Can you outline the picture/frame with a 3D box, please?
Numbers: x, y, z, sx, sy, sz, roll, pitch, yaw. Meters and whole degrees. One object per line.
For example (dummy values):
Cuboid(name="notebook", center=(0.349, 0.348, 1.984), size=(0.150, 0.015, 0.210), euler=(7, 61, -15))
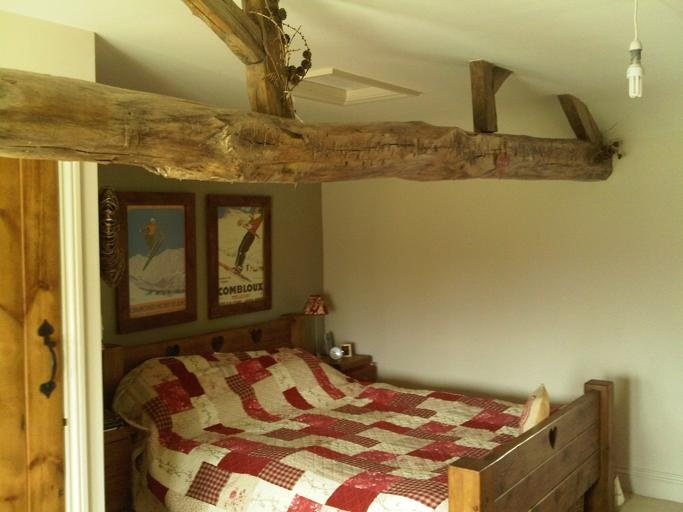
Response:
Cuboid(name="picture/frame", center=(-1.199, 0.052, 4.378), size=(0.065, 0.893, 1.448), euler=(-1, 1, 37))
